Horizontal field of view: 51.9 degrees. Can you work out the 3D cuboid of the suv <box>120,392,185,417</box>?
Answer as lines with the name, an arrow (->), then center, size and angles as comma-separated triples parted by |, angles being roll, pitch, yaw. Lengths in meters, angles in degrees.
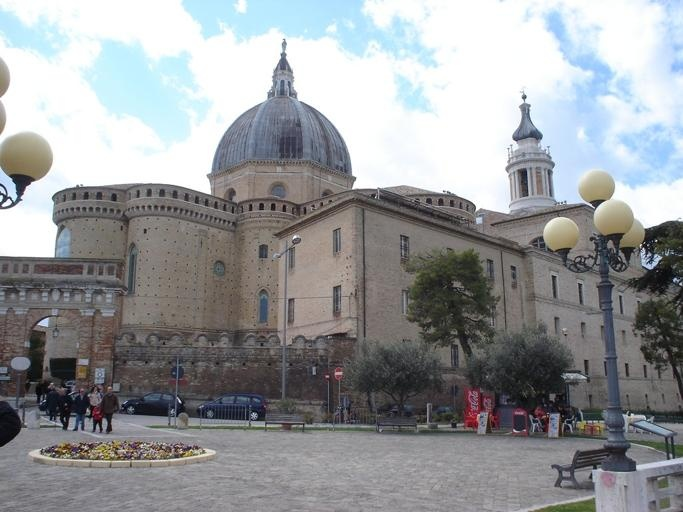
suv -> -10.820, 8.480, 39.867 | 3.488, 1.341, 1.213 | -7, -17, 23

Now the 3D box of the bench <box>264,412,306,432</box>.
bench -> -2.543, 7.507, 31.268 | 1.677, 0.704, 3.056 | 2, -16, -6

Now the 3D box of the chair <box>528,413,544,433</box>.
chair -> 9.222, 7.884, 32.940 | 0.668, 0.900, 1.840 | -5, -17, 16

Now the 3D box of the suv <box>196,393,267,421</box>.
suv -> -5.831, 8.286, 37.969 | 3.851, 1.411, 1.735 | 4, -13, -5

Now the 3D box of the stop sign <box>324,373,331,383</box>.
stop sign -> -0.840, 7.317, 41.831 | 0.410, 0.748, 0.419 | 0, -28, -1
